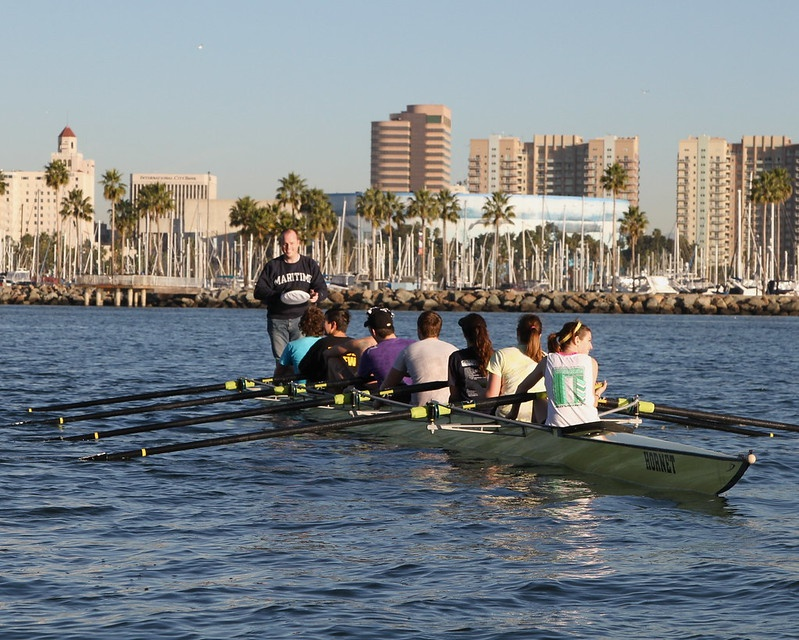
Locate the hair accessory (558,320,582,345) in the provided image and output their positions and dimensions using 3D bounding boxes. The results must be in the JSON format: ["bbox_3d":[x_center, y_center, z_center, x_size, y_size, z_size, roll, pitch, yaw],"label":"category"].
[{"bbox_3d":[2.331,0.182,25.101,0.286,0.073,0.281,-35,-9,-41],"label":"hair accessory"}]

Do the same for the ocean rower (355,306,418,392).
[{"bbox_3d":[-0.235,0.435,28.386,1.117,1.357,0.996,-1,7,36],"label":"ocean rower"}]

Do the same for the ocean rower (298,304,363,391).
[{"bbox_3d":[-1.116,0.431,29.111,1.037,1.388,0.954,6,5,9],"label":"ocean rower"}]

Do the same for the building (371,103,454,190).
[{"bbox_3d":[2.349,-26.767,284.396,10.429,14.187,13.047,5,10,42],"label":"building"}]

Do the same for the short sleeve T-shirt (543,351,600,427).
[{"bbox_3d":[2.364,0.951,25.377,0.728,1.042,0.734,0,2,6],"label":"short sleeve T-shirt"}]

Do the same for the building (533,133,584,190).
[{"bbox_3d":[23.006,-22.657,269.474,6.519,8.920,10.559,0,2,-3],"label":"building"}]

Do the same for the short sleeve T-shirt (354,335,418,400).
[{"bbox_3d":[-0.181,0.725,27.778,0.745,0.764,0.331,5,-18,1],"label":"short sleeve T-shirt"}]

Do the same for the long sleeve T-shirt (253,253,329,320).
[{"bbox_3d":[-1.729,-0.543,29.793,1.176,1.086,0.700,3,0,-15],"label":"long sleeve T-shirt"}]

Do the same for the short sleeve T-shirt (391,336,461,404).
[{"bbox_3d":[0.427,0.837,27.466,1.000,1.241,0.576,-5,7,-9],"label":"short sleeve T-shirt"}]

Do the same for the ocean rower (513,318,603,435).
[{"bbox_3d":[2.258,0.717,25.679,1.197,1.559,1.153,-2,5,-8],"label":"ocean rower"}]

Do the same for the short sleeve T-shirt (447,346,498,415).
[{"bbox_3d":[1.077,0.863,26.629,0.916,1.137,0.635,-2,0,-24],"label":"short sleeve T-shirt"}]

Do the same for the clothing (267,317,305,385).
[{"bbox_3d":[-1.813,0.335,30.084,0.520,1.197,0.391,2,32,-6],"label":"clothing"}]

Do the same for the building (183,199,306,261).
[{"bbox_3d":[-18.674,-9.845,206.135,11.722,6.667,8.254,2,-3,0],"label":"building"}]

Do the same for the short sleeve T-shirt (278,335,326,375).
[{"bbox_3d":[-1.512,0.475,29.301,0.893,0.894,0.506,2,17,-3],"label":"short sleeve T-shirt"}]

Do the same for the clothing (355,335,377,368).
[{"bbox_3d":[-0.507,0.469,28.316,0.423,0.427,0.251,-3,13,0],"label":"clothing"}]

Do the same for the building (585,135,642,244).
[{"bbox_3d":[29.001,-18.900,259.298,6.804,12.146,7.337,4,-32,3],"label":"building"}]
